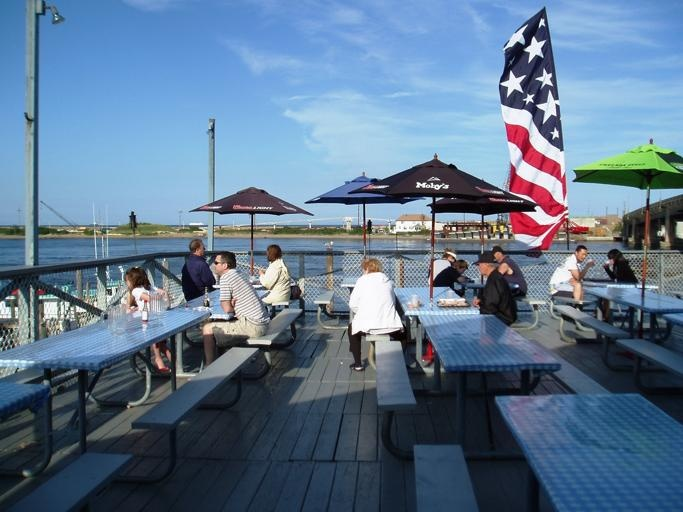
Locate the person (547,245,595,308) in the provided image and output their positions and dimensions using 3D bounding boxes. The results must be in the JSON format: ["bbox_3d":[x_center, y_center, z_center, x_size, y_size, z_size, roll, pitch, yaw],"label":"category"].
[{"bbox_3d":[4.062,0.400,10.716,0.658,1.251,0.449,2,22,8],"label":"person"}]

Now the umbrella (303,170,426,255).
[{"bbox_3d":[0.341,-0.742,11.896,1.717,1.465,1.732,-6,10,-26],"label":"umbrella"}]

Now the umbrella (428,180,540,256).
[{"bbox_3d":[2.450,-0.654,10.520,1.802,1.086,1.863,1,-2,-29],"label":"umbrella"}]

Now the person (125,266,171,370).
[{"bbox_3d":[-2.231,0.761,7.107,0.428,1.342,0.408,-4,9,11],"label":"person"}]

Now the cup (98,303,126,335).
[{"bbox_3d":[-2.175,0.613,5.845,0.251,0.293,0.257,1,-2,0],"label":"cup"}]

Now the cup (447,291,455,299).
[{"bbox_3d":[1.378,0.494,7.598,0.092,0.112,0.096,2,3,0],"label":"cup"}]

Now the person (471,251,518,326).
[{"bbox_3d":[1.798,0.383,7.164,0.474,0.845,0.580,-3,10,15],"label":"person"}]

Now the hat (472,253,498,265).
[{"bbox_3d":[2.053,0.049,8.611,0.262,0.148,0.201,9,4,22],"label":"hat"}]

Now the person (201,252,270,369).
[{"bbox_3d":[-1.339,0.693,7.478,0.874,1.477,0.615,-1,6,12],"label":"person"}]

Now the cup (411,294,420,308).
[{"bbox_3d":[0.903,0.558,7.310,0.118,0.156,0.124,-1,8,0],"label":"cup"}]

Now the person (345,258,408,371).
[{"bbox_3d":[0.493,0.734,7.417,0.809,1.407,0.732,-2,3,-17],"label":"person"}]

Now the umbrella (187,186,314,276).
[{"bbox_3d":[-1.467,-0.571,10.059,1.522,1.119,1.544,-3,-13,18],"label":"umbrella"}]

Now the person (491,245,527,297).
[{"bbox_3d":[2.840,0.299,10.352,0.547,1.084,0.450,-2,28,28],"label":"person"}]

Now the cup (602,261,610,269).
[{"bbox_3d":[5.089,0.168,11.543,0.106,0.122,0.069,20,9,-43],"label":"cup"}]
